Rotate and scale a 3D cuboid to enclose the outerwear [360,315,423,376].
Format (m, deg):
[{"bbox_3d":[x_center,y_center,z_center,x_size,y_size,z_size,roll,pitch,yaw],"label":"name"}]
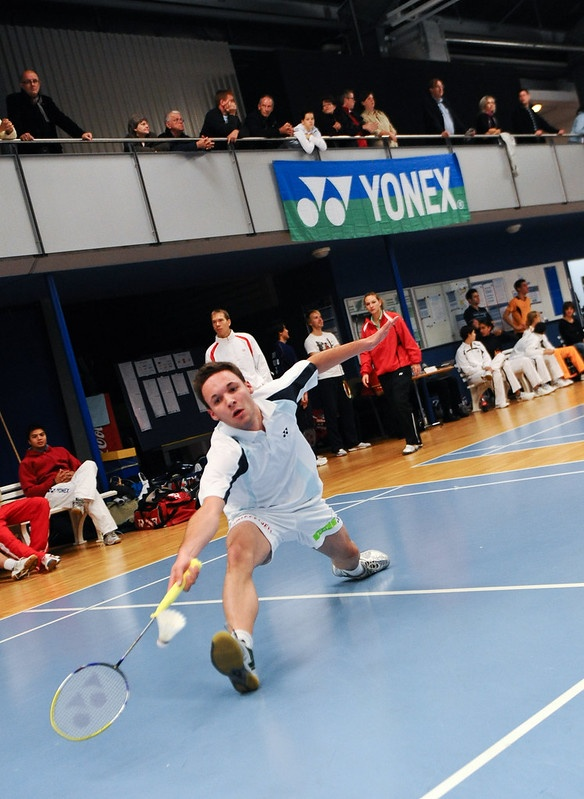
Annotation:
[{"bbox_3d":[1.313,-0.826,8.080,0.951,0.881,0.482,-9,12,38],"label":"outerwear"}]

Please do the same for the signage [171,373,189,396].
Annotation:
[{"bbox_3d":[-2.343,-0.309,12.205,0.052,0.522,0.393,-20,2,34],"label":"signage"}]

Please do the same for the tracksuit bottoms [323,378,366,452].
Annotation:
[{"bbox_3d":[0.813,0.274,10.181,0.541,1.368,1.030,-18,0,9],"label":"tracksuit bottoms"}]

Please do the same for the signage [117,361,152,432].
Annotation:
[{"bbox_3d":[-3.067,-0.056,11.556,0.303,1.436,0.181,-18,0,-22],"label":"signage"}]

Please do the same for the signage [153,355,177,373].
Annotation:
[{"bbox_3d":[-2.614,-0.727,12.132,0.068,0.417,0.476,-18,-1,44],"label":"signage"}]

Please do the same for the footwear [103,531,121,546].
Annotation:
[{"bbox_3d":[-2.191,1.701,7.163,0.126,0.139,0.295,3,-14,-30],"label":"footwear"}]

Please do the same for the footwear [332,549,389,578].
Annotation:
[{"bbox_3d":[0.332,0.763,2.735,0.260,0.114,0.113,-10,19,-9],"label":"footwear"}]

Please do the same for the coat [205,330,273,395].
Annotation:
[{"bbox_3d":[-0.665,-0.455,7.278,0.697,0.955,0.346,-20,40,0],"label":"coat"}]

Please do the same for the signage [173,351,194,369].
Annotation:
[{"bbox_3d":[-2.277,-0.823,12.442,0.378,0.350,0.087,-9,-13,-30],"label":"signage"}]

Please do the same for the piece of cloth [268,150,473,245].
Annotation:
[{"bbox_3d":[1.460,-3.481,10.057,3.630,1.257,0.147,-13,6,-22],"label":"piece of cloth"}]

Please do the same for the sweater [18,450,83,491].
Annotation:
[{"bbox_3d":[-3.026,0.904,7.377,0.430,0.346,0.239,-15,-12,-32],"label":"sweater"}]

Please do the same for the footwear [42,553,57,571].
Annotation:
[{"bbox_3d":[-2.575,1.737,6.275,0.120,0.116,0.259,-57,5,-12],"label":"footwear"}]

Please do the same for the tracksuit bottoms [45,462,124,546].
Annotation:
[{"bbox_3d":[-2.542,1.323,7.275,0.731,1.092,0.421,-18,0,13],"label":"tracksuit bottoms"}]

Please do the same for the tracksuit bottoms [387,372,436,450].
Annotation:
[{"bbox_3d":[1.523,0.073,7.909,0.345,1.245,0.409,-3,-19,-16],"label":"tracksuit bottoms"}]

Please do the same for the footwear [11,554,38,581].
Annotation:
[{"bbox_3d":[-2.805,1.769,6.186,0.260,0.247,0.332,-18,-1,-30],"label":"footwear"}]
